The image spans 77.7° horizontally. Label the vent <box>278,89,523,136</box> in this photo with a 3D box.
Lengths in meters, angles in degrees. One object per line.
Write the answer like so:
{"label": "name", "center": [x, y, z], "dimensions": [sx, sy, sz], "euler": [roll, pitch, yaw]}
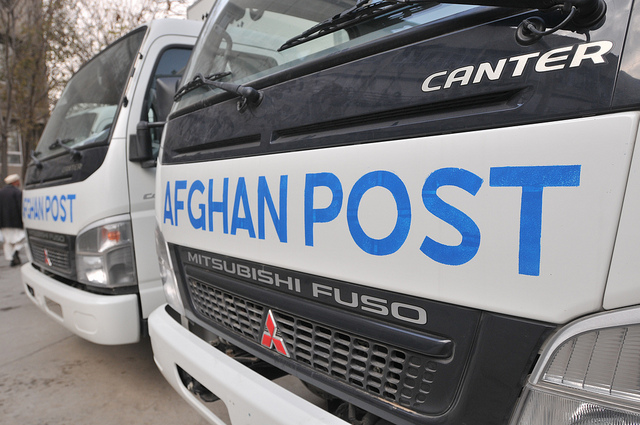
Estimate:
{"label": "vent", "center": [0.251, -0.366, 1.487], "dimensions": [0.897, 0.103, 0.024], "euler": [4, 11, 30]}
